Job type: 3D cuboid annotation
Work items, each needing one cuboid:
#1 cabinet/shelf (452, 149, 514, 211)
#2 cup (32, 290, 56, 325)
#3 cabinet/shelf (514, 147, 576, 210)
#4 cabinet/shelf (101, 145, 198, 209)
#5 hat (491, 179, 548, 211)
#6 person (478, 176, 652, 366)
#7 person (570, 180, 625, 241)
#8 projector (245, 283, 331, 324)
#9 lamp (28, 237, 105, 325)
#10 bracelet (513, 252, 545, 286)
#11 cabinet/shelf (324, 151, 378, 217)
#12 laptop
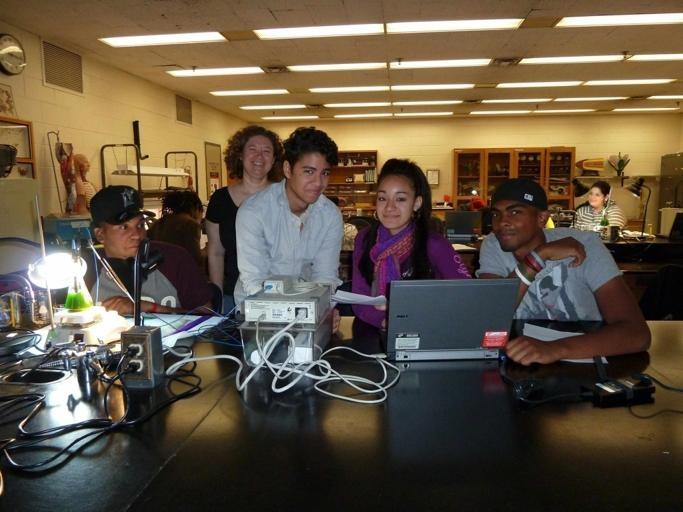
[{"bbox_3d":[2.672,-1.283,9.782,1.092,1.519,0.440,1,-16,11],"label":"cabinet/shelf"},{"bbox_3d":[-1.312,0.227,2.230,0.101,0.153,0.093,-7,-6,-1],"label":"cup"},{"bbox_3d":[3.774,-1.623,9.615,1.003,0.427,1.451,3,-32,21],"label":"cabinet/shelf"},{"bbox_3d":[-2.247,-0.893,6.270,0.416,0.871,1.037,-2,6,18],"label":"cabinet/shelf"},{"bbox_3d":[0.807,-0.299,2.336,0.183,0.106,0.182,7,9,25],"label":"hat"},{"bbox_3d":[0.924,0.032,2.245,0.662,0.613,0.834,-16,8,36],"label":"person"},{"bbox_3d":[2.950,-0.439,6.048,0.510,0.843,0.622,5,0,-37],"label":"person"},{"bbox_3d":[-0.187,0.178,1.973,0.310,0.130,0.348,0,6,1],"label":"projector"},{"bbox_3d":[-1.039,0.102,1.978,0.183,0.291,0.236,-4,10,15],"label":"lamp"},{"bbox_3d":[0.797,0.056,2.180,0.092,0.130,0.102,41,12,22],"label":"bracelet"},{"bbox_3d":[0.090,-1.353,9.961,1.519,1.305,0.465,4,5,28],"label":"cabinet/shelf"},{"bbox_3d":[0.384,0.224,1.848,0.461,0.300,0.313,0,22,-3],"label":"laptop"}]
